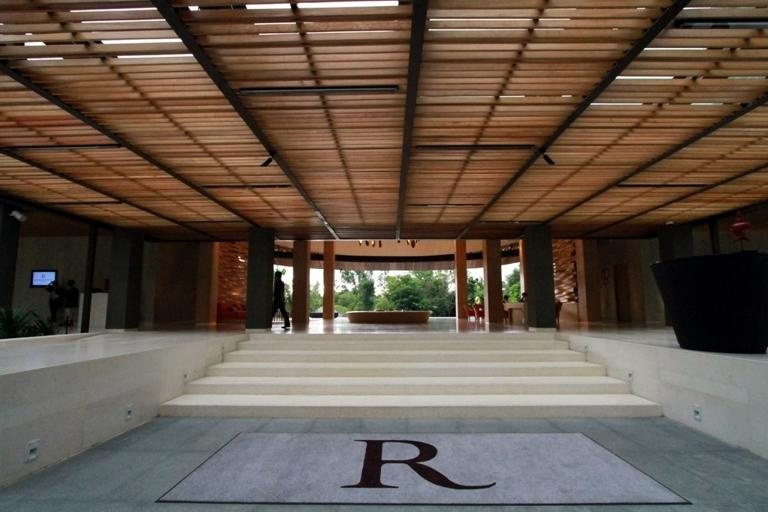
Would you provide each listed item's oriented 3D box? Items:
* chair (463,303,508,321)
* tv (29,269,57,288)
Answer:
[{"bbox_3d":[4.117,2.302,18.186,1.445,1.078,1.018,3,-11,-2],"label":"chair"},{"bbox_3d":[-12.432,0.875,16.444,0.893,0.528,0.076,-1,-16,-5],"label":"tv"}]
